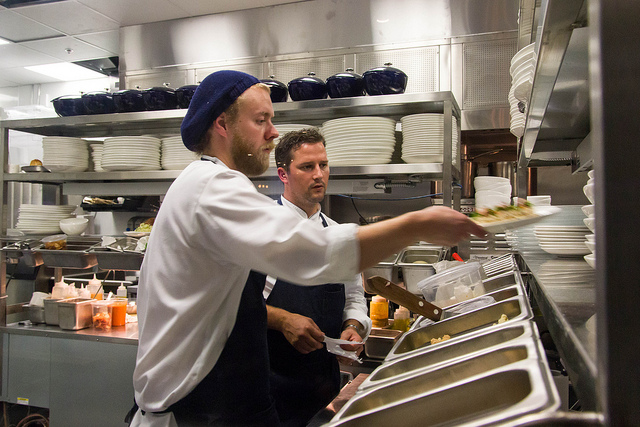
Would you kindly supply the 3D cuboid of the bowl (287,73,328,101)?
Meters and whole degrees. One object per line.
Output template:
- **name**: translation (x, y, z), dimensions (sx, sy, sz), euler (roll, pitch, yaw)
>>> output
- **bowl**: translation (-0.080, -0.835, 3.109), dimensions (0.225, 0.143, 0.214), euler (1, -1, 0)

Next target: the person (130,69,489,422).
- **person**: translation (-0.029, -0.016, 2.285), dimensions (1.458, 2.082, 1.008), euler (-4, 14, -12)

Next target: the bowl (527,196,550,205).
- **bowl**: translation (1.160, -0.065, 2.454), dimensions (0.079, 0.049, 0.080), euler (0, 0, 0)

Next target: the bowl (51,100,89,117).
- **bowl**: translation (-1.921, -0.812, 3.504), dimensions (0.294, 0.149, 0.101), euler (-4, 2, 30)

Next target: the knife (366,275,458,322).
- **knife**: translation (0.334, 0.337, 1.849), dimensions (0.450, 0.119, 0.018), euler (28, -2, 40)

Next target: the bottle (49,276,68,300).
- **bottle**: translation (-1.986, 0.591, 3.548), dimensions (0.133, 0.224, 0.126), euler (3, -1, 0)

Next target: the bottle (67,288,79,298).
- **bottle**: translation (-1.887, 0.614, 3.500), dimensions (0.055, 0.067, 0.019), euler (0, -12, -4)

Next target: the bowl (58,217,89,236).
- **bowl**: translation (-1.882, 0.102, 3.513), dimensions (0.157, 0.089, 0.157), euler (-1, -3, 0)

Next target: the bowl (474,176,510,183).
- **bowl**: translation (0.979, -0.195, 2.604), dimensions (0.172, 0.043, 0.121), euler (-4, 2, 16)

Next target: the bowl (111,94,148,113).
- **bowl**: translation (-1.385, -0.824, 3.365), dimensions (0.189, 0.073, 0.212), euler (1, -2, -10)
